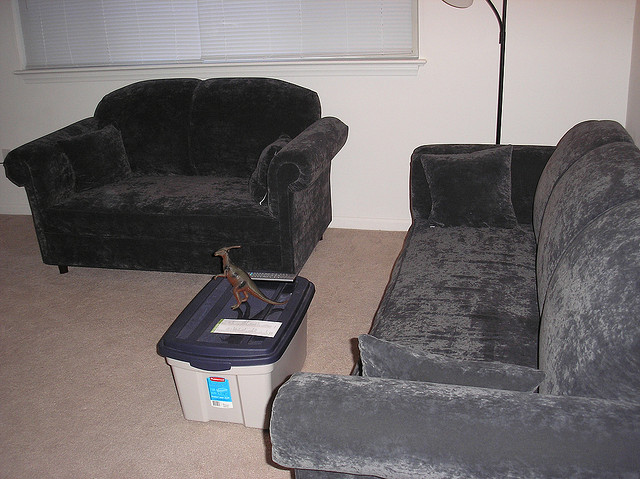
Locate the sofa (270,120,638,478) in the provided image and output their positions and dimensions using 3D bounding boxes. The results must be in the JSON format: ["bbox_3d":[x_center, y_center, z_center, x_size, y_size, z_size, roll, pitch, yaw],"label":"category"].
[{"bbox_3d":[0.486,0.171,2.074,0.643,0.661,1.524,8,38,17],"label":"sofa"}]

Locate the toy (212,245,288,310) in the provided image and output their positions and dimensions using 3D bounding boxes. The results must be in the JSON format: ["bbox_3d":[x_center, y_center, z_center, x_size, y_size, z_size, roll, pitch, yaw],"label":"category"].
[{"bbox_3d":[-0.305,0.172,2.346,0.335,0.258,0.099,13,10,7],"label":"toy"}]

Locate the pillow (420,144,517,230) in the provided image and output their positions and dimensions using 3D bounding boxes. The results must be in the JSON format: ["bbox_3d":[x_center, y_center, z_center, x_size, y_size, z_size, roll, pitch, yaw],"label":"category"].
[{"bbox_3d":[0.765,-0.270,2.879,0.440,0.428,0.168,2,23,25],"label":"pillow"}]

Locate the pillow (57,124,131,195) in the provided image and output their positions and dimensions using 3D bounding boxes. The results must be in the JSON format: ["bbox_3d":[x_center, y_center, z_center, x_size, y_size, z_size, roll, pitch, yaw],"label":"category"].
[{"bbox_3d":[-1.445,-0.528,3.578,0.129,0.425,0.440,-2,23,47],"label":"pillow"}]

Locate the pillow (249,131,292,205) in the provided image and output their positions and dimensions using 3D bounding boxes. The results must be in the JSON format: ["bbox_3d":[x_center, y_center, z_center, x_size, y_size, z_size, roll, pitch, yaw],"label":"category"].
[{"bbox_3d":[-0.313,-0.430,3.213,0.134,0.435,0.413,-8,54,-12],"label":"pillow"}]

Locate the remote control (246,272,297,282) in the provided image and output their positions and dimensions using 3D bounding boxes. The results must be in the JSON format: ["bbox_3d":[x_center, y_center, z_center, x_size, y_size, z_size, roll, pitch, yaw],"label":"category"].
[{"bbox_3d":[-0.213,0.169,2.504,0.184,0.014,0.037,0,53,8],"label":"remote control"}]

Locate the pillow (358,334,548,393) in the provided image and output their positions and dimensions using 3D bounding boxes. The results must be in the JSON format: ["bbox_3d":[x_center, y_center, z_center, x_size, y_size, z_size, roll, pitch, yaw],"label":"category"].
[{"bbox_3d":[0.358,0.335,1.524,0.501,0.116,0.116,3,8,7],"label":"pillow"}]
